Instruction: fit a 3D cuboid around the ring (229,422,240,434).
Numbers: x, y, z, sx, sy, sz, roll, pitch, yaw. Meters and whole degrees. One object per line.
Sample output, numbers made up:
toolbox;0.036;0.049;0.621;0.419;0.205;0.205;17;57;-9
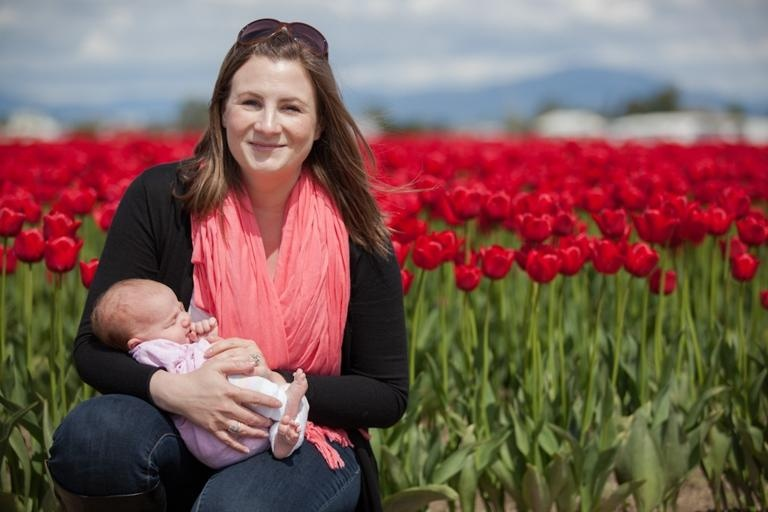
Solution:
ring;-0.675;0.760;3.845;0.035;0.054;0.022;3;-22;-8

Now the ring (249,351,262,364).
ring;-0.576;0.458;3.902;0.030;0.023;0.056;5;-23;6
